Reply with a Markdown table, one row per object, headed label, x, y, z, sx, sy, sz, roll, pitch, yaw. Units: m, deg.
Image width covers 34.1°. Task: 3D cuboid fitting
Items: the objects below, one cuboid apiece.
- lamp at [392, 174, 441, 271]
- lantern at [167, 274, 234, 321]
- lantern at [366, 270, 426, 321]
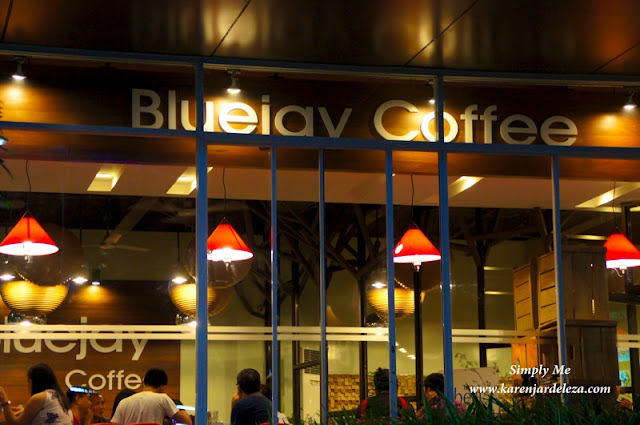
| label | x | y | z | sx | sy | sz | roll | pitch | yaw |
| --- | --- | --- | --- | --- | --- | --- | --- | --- | --- |
| lamp | 1.064 | 0.356 | 11.241 | 0.518 | 0.499 | 0.131 | 3 | -20 | -15 |
| lantern | -1.272 | 0.905 | 10.971 | 0.460 | 0.276 | 0.451 | 2 | -15 | -4 |
| lantern | 0.533 | 0.889 | 11.357 | 0.638 | 0.480 | 0.689 | 18 | -4 | 5 |
